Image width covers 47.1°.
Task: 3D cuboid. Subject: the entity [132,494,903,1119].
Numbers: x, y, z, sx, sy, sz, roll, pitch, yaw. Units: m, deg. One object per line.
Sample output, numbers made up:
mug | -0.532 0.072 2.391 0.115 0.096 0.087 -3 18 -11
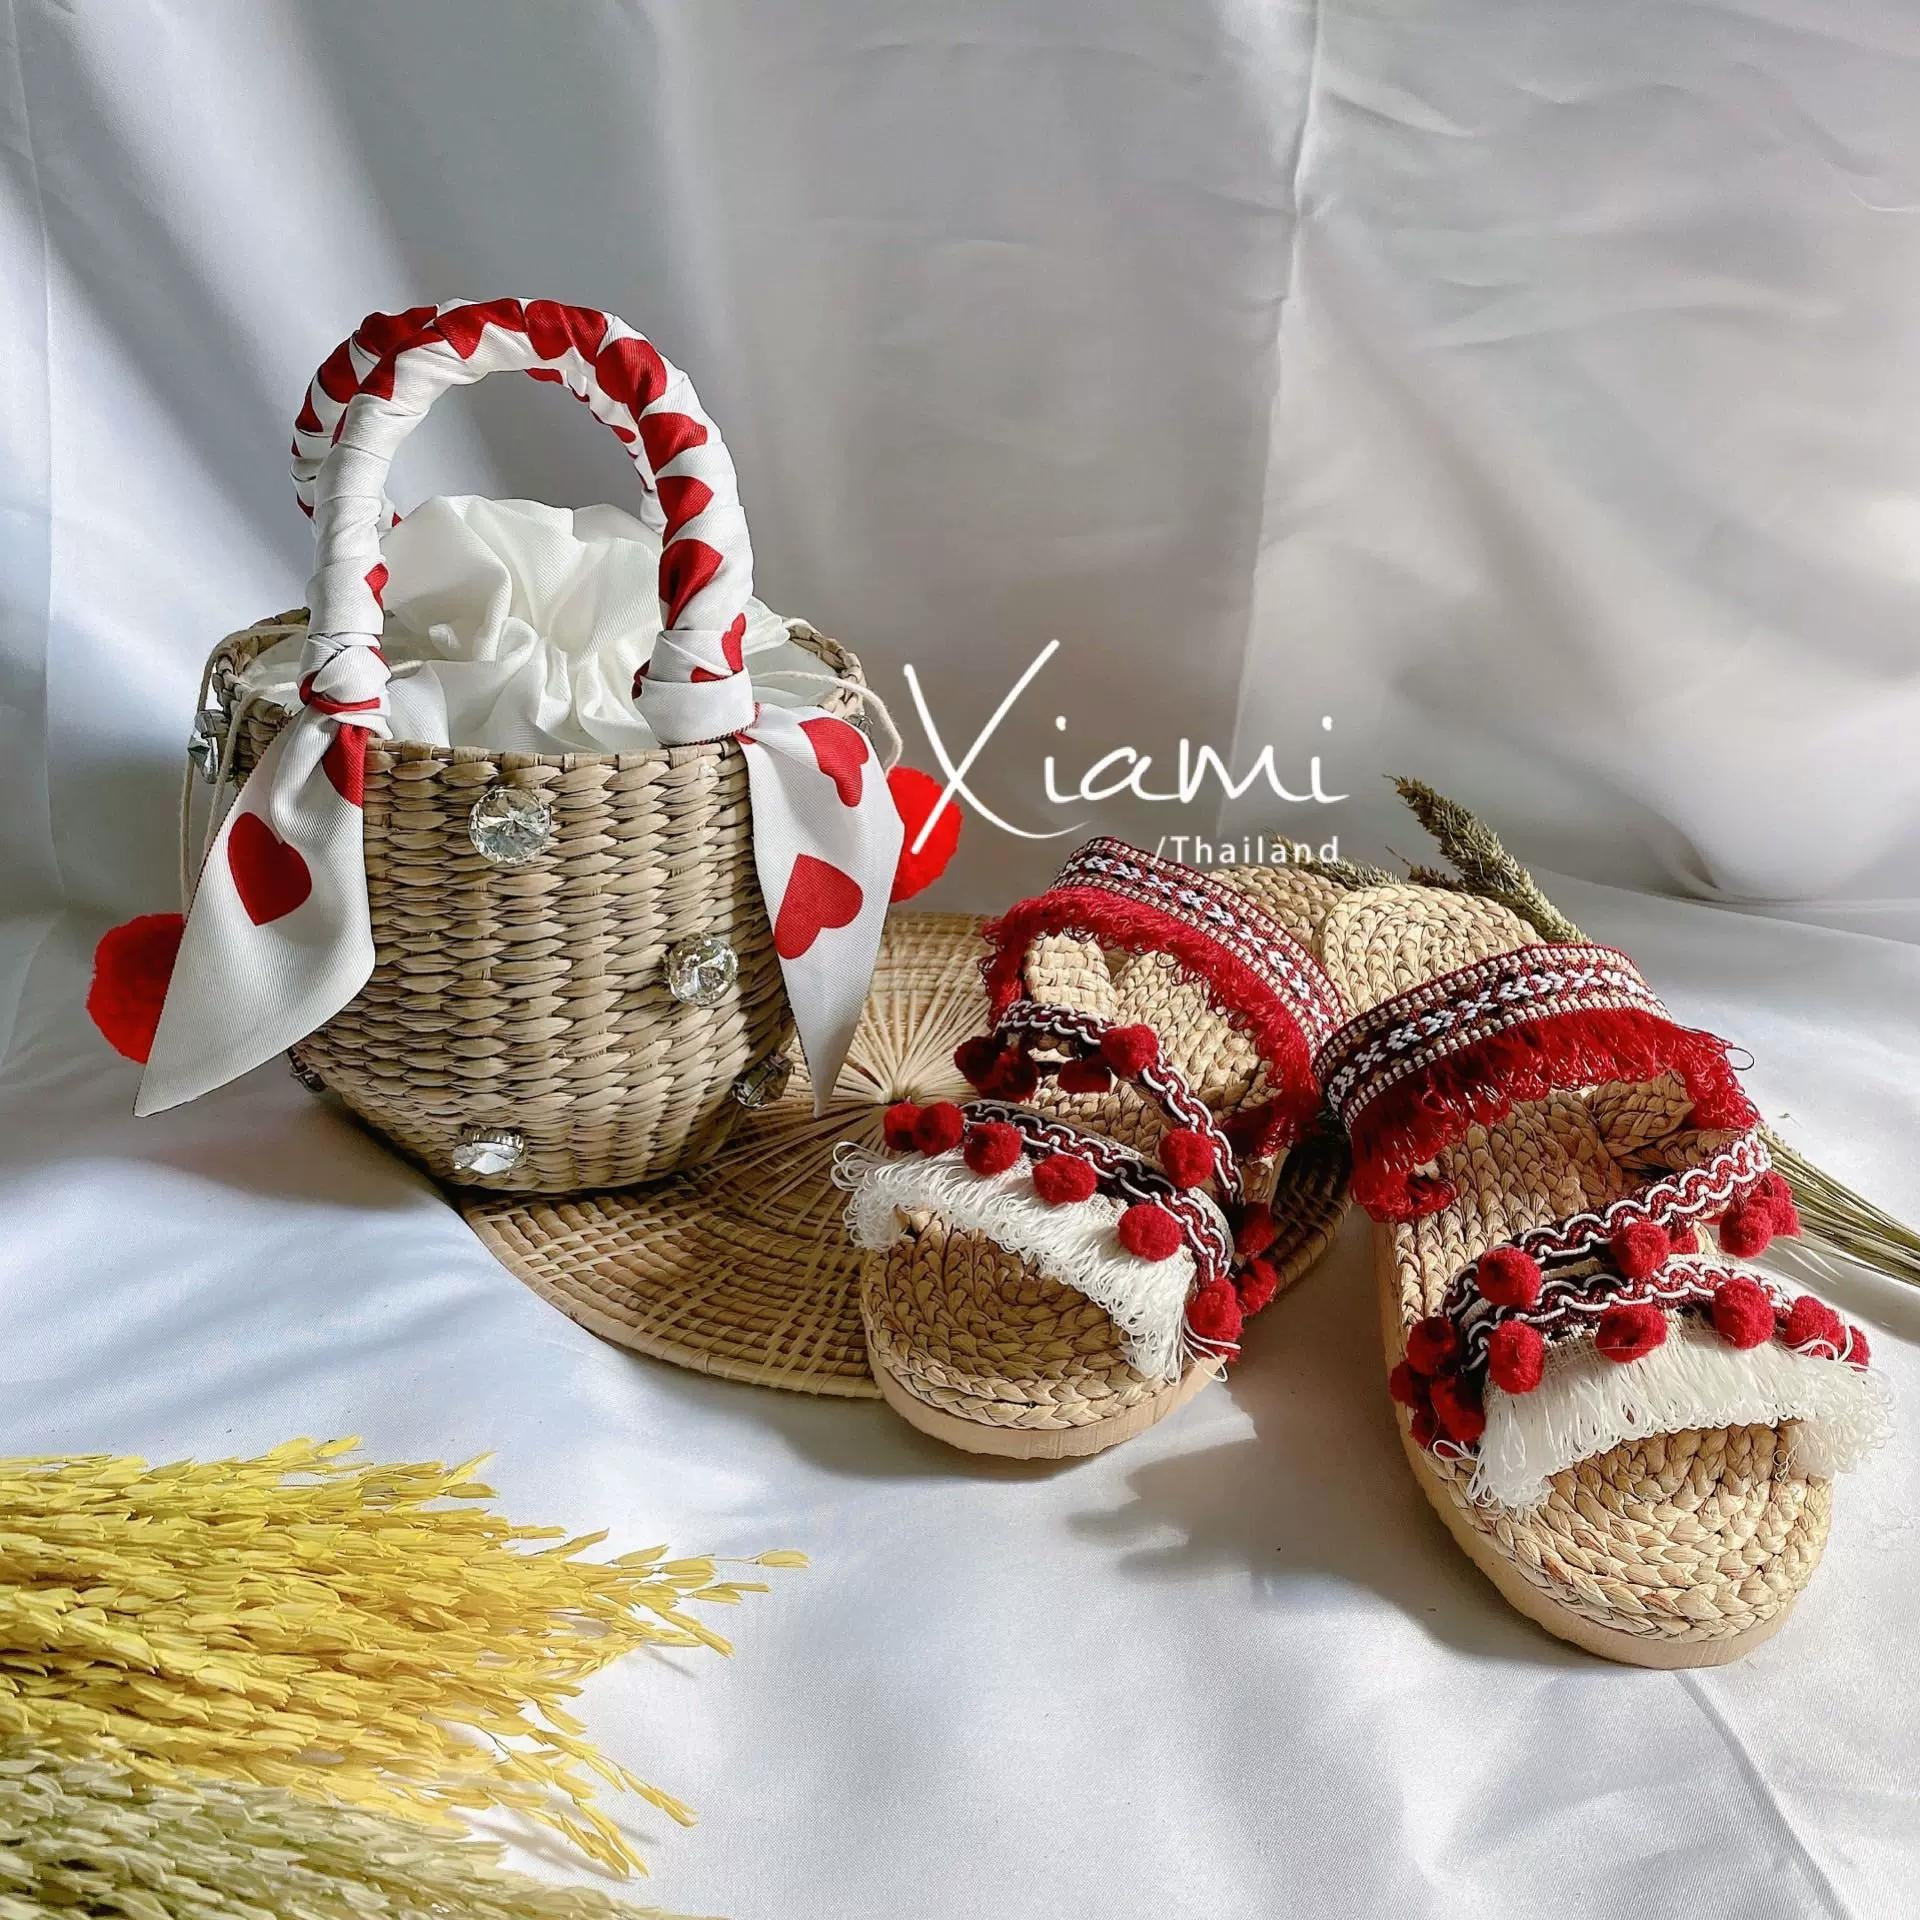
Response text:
entity | -0.184 -0.079 1.188 0.511 0.230 0.325 -5 23 -23

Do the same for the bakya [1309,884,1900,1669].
bakya | 0.273 0.152 1.120 0.241 0.146 0.402 -8 32 -7
